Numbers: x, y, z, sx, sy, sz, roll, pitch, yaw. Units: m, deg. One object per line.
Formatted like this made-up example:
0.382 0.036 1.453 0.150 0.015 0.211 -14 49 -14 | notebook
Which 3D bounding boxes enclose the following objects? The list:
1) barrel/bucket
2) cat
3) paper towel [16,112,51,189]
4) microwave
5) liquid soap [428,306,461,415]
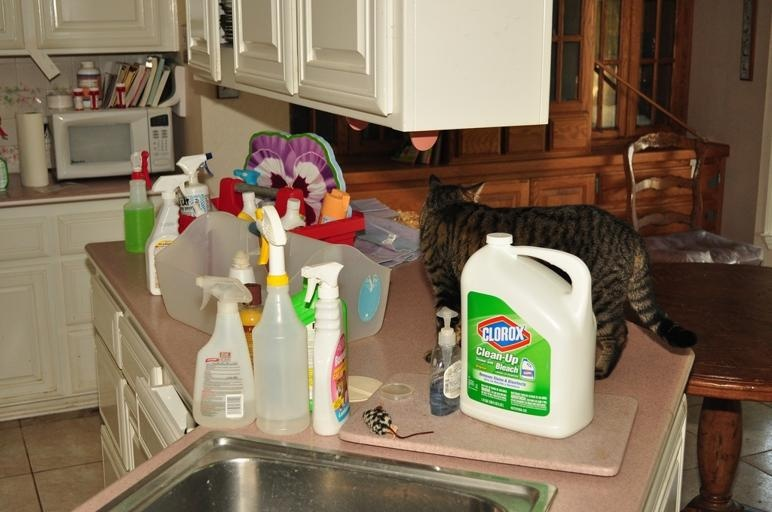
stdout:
0.319 0.182 1.495 0.309 0.418 0.166 9 13 42 | barrel/bucket
0.388 -0.040 1.764 0.530 0.540 0.564 -2 21 -9 | cat
-1.939 -0.583 3.529 0.142 0.381 0.147 -6 16 -31 | paper towel
-1.528 -0.643 3.606 0.779 0.483 0.437 -6 14 -20 | microwave
0.124 0.252 1.516 0.070 0.230 0.087 3 20 2 | liquid soap
